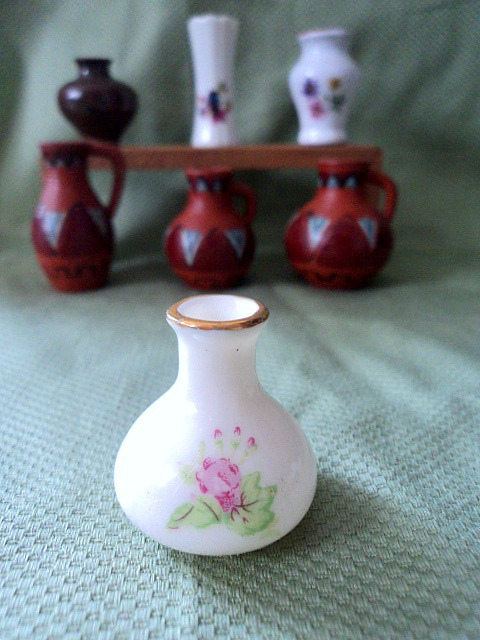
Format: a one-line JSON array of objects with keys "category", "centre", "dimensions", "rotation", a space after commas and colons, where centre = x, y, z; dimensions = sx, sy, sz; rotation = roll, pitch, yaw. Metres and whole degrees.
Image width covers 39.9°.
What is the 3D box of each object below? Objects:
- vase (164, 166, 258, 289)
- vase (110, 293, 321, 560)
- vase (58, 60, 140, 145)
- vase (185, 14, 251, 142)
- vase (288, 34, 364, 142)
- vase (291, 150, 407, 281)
[{"category": "vase", "centre": [-0.058, -0.198, 1.382], "dimensions": [0.212, 0.244, 0.185], "rotation": [3, 18, 14]}, {"category": "vase", "centre": [-0.021, 0.078, 0.496], "dimensions": [0.144, 0.164, 0.138], "rotation": [-28, 45, -30]}, {"category": "vase", "centre": [-0.282, -0.498, 1.531], "dimensions": [0.193, 0.211, 0.181], "rotation": [-2, 37, -6]}, {"category": "vase", "centre": [-0.043, -0.560, 1.547], "dimensions": [0.154, 0.321, 0.303], "rotation": [-2, 37, 1]}, {"category": "vase", "centre": [0.181, -0.497, 1.431], "dimensions": [0.150, 0.230, 0.099], "rotation": [4, 39, 8]}, {"category": "vase", "centre": [0.211, -0.198, 1.355], "dimensions": [0.248, 0.259, 0.213], "rotation": [-11, 25, -27]}]
